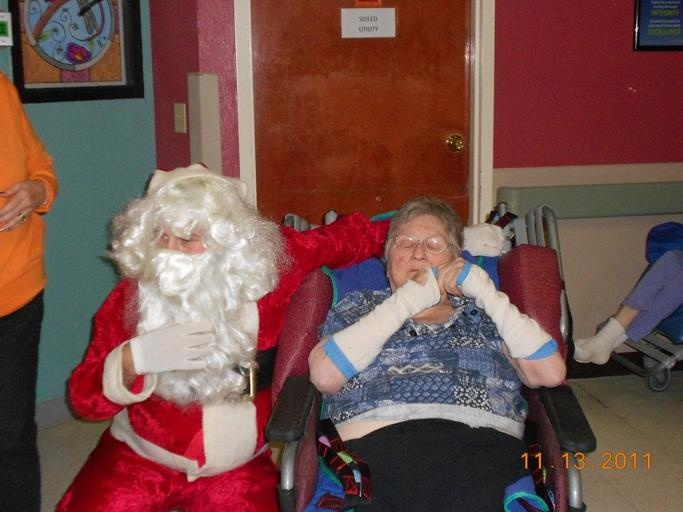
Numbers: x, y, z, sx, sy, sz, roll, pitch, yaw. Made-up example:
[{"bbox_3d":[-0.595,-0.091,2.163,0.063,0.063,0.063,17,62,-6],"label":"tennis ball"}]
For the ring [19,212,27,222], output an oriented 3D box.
[{"bbox_3d":[-1.058,-0.128,1.954,0.011,0.028,0.027,4,17,10],"label":"ring"}]
